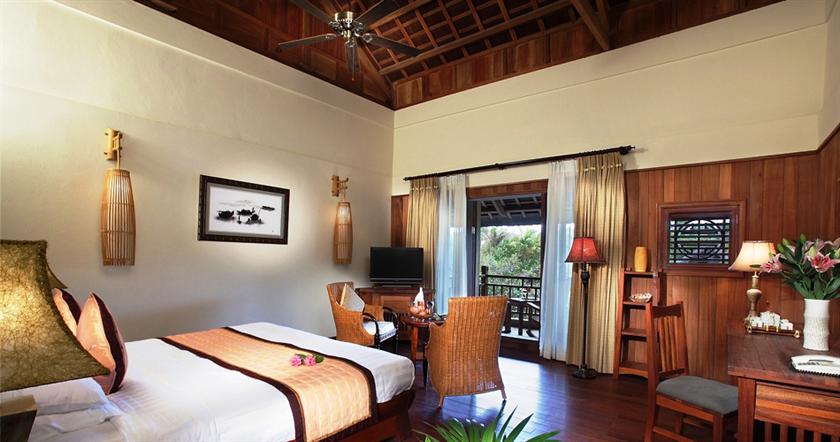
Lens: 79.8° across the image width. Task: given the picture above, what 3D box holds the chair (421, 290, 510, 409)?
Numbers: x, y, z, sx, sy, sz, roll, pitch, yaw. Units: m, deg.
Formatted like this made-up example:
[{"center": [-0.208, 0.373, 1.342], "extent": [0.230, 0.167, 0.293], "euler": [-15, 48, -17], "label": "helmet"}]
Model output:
[{"center": [0.649, 1.864, 7.401], "extent": [1.266, 1.379, 1.213], "euler": [0, -3, 3], "label": "chair"}]

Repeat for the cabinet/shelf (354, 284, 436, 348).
[{"center": [-0.404, 1.731, 9.597], "extent": [1.230, 0.931, 0.688], "euler": [2, 0, 2], "label": "cabinet/shelf"}]

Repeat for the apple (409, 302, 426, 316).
[{"center": [-0.036, 1.366, 7.805], "extent": [0.215, 0.153, 0.214], "euler": [1, -1, -19], "label": "apple"}]

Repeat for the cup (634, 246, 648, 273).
[{"center": [3.517, 0.604, 7.977], "extent": [0.219, 0.388, 0.168], "euler": [0, -2, 16], "label": "cup"}]

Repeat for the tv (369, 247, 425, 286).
[{"center": [-0.433, 0.864, 9.548], "extent": [0.759, 0.487, 0.188], "euler": [1, -11, -1], "label": "tv"}]

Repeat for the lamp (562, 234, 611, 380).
[{"center": [2.678, 1.363, 8.135], "extent": [0.572, 2.237, 0.484], "euler": [0, -2, 19], "label": "lamp"}]

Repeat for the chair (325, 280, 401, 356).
[{"center": [-0.980, 1.560, 8.091], "extent": [1.211, 1.422, 1.094], "euler": [-5, -7, 24], "label": "chair"}]

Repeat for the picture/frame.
[{"center": [-3.001, -0.206, 8.378], "extent": [1.378, 0.899, 0.055], "euler": [5, -8, -37], "label": "picture/frame"}]

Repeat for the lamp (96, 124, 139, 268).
[{"center": [-4.429, -0.345, 7.395], "extent": [0.433, 2.006, 0.183], "euler": [1, -2, -32], "label": "lamp"}]

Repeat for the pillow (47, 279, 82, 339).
[{"center": [-3.696, 0.915, 5.221], "extent": [0.199, 0.635, 0.661], "euler": [-23, 20, -30], "label": "pillow"}]

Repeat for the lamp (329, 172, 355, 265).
[{"center": [-1.411, -0.025, 9.460], "extent": [0.288, 1.678, 0.392], "euler": [-1, -2, 41], "label": "lamp"}]

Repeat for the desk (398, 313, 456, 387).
[{"center": [0.029, 2.071, 8.048], "extent": [0.715, 0.710, 0.726], "euler": [11, -10, 34], "label": "desk"}]

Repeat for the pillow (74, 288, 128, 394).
[{"center": [-3.737, 1.259, 5.840], "extent": [0.379, 0.809, 0.879], "euler": [-13, -2, -45], "label": "pillow"}]
